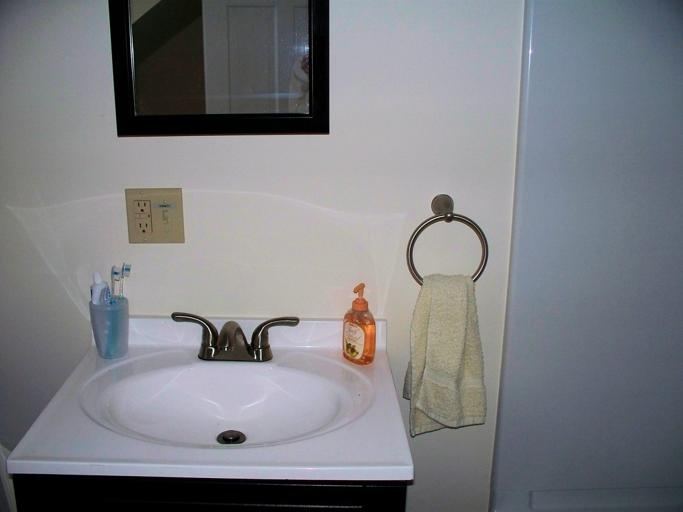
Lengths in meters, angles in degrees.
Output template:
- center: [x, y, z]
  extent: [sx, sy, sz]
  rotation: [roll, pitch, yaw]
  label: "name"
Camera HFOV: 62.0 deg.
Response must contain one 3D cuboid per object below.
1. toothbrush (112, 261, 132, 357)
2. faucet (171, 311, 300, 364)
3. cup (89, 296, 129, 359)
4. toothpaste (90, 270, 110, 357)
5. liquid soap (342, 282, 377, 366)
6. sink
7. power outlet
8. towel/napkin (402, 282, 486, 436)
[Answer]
- center: [-0.636, 0.159, 1.622]
  extent: [0.060, 0.282, 0.064]
  rotation: [10, 18, 7]
  label: "toothbrush"
- center: [-0.302, 0.245, 1.630]
  extent: [0.346, 0.140, 0.138]
  rotation: [3, -15, -10]
  label: "faucet"
- center: [-0.657, 0.215, 1.627]
  extent: [0.132, 0.159, 0.135]
  rotation: [1, 11, 0]
  label: "cup"
- center: [-0.675, 0.189, 1.606]
  extent: [0.051, 0.229, 0.054]
  rotation: [0, 7, -13]
  label: "toothpaste"
- center: [0.058, 0.201, 1.613]
  extent: [0.058, 0.228, 0.096]
  rotation: [6, -14, -21]
  label: "liquid soap"
- center: [-0.305, 0.380, 1.473]
  extent: [0.629, 0.282, 0.435]
  rotation: [0, 17, 1]
  label: "sink"
- center: [-0.537, -0.115, 1.650]
  extent: [0.159, 0.157, 0.024]
  rotation: [2, 9, 6]
  label: "power outlet"
- center: [0.291, 0.277, 1.589]
  extent: [0.229, 0.440, 0.149]
  rotation: [2, 9, 9]
  label: "towel/napkin"
